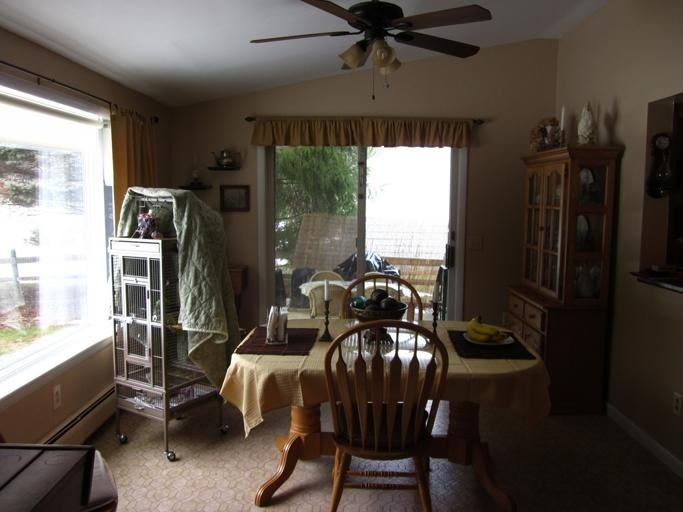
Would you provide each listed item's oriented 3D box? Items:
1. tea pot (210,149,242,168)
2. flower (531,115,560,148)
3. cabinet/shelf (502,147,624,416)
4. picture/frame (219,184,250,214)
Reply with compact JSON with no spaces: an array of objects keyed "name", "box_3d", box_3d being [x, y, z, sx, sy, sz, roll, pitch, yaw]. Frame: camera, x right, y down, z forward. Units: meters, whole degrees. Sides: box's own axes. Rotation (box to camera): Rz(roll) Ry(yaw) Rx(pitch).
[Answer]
[{"name":"tea pot","box_3d":[-1.161,-0.974,5.258,0.253,0.189,0.176,0,4,-8]},{"name":"flower","box_3d":[1.757,-1.055,4.508,0.269,0.298,0.205,1,3,-3]},{"name":"cabinet/shelf","box_3d":[1.828,0.193,4.330,0.797,2.147,0.656,3,9,33]},{"name":"picture/frame","box_3d":[-1.081,-0.594,5.321,0.271,0.283,0.024,0,3,-1]}]
